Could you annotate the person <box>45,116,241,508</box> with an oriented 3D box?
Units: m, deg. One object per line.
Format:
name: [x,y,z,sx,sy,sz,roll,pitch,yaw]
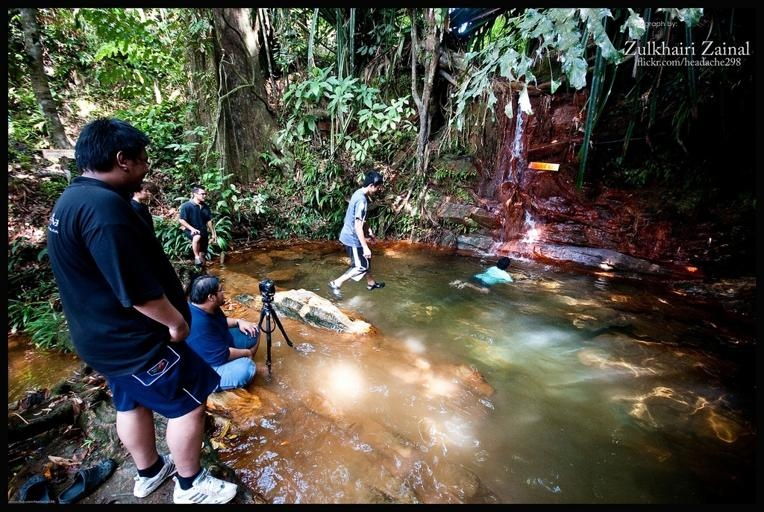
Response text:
person: [-2.436,0.622,4.556,1.495,3.858,0.833,7,19,25]

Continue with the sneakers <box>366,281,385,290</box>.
sneakers: [-0.125,0.564,8.443,0.330,0.131,0.129,-6,22,-13]

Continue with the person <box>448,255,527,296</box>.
person: [2.006,0.366,8.805,1.426,0.609,0.585,-12,29,-23]

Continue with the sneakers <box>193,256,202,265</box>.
sneakers: [-3.652,0.103,8.974,0.150,0.173,0.413,-3,-2,-32]

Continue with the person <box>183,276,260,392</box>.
person: [-2.021,1.039,5.707,0.678,1.217,0.846,-8,41,-23]

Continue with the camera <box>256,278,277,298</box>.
camera: [-1.737,0.496,6.775,0.243,0.235,0.189,-24,34,-31]

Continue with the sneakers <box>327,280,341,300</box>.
sneakers: [-0.835,0.625,8.092,0.165,0.397,0.142,-27,2,-9]
